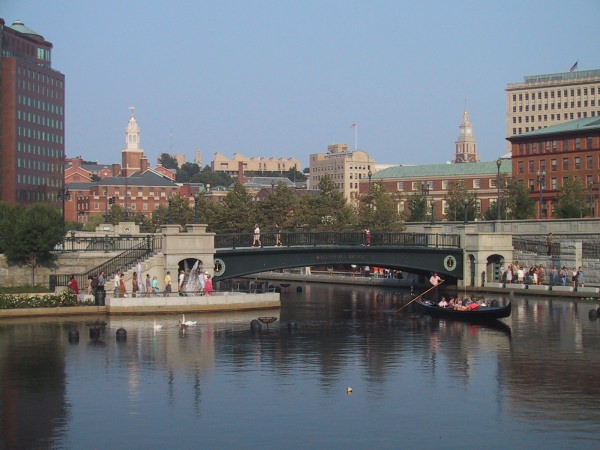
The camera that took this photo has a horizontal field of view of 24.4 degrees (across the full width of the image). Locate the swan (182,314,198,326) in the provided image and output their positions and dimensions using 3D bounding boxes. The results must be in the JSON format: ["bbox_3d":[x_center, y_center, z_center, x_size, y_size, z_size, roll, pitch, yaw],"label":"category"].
[{"bbox_3d":[-8.216,7.013,100.817,1.523,0.957,0.506,-2,-3,43],"label":"swan"}]

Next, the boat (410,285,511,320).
[{"bbox_3d":[12.390,6.415,105.151,1.639,1.558,9.232,-10,5,-39],"label":"boat"}]

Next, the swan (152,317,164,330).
[{"bbox_3d":[-10.216,7.230,99.932,0.748,0.974,0.392,4,-6,-13],"label":"swan"}]
